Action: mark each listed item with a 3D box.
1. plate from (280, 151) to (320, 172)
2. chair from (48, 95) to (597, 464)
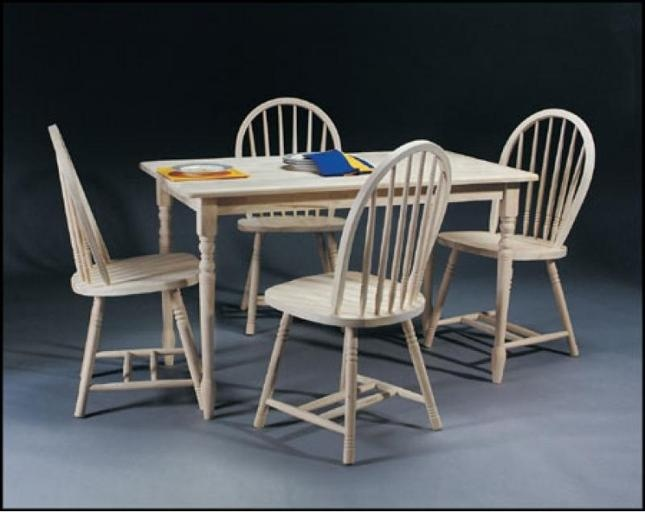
[{"bbox_3d":[-0.101,-0.376,2.722,0.105,0.046,0.130,-2,7,-22],"label":"plate"},{"bbox_3d":[0.047,-0.037,2.756,2.064,1.111,1.325,-13,23,-39],"label":"chair"}]
